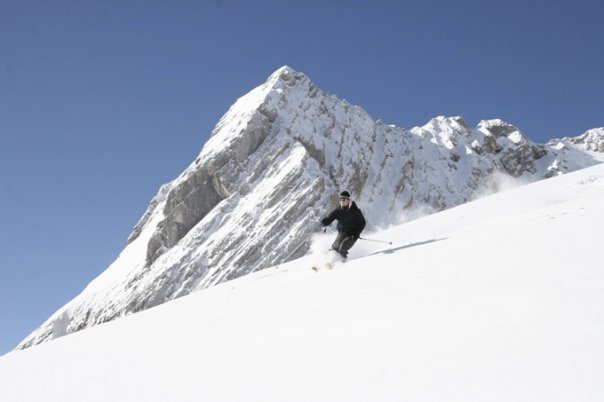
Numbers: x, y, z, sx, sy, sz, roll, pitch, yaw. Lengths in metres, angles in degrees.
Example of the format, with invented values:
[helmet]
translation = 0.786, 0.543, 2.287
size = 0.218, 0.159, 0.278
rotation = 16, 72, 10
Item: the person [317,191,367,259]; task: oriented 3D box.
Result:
[person]
translation = 1.285, 0.956, 20.986
size = 1.305, 2.469, 0.847
rotation = 8, 15, 10
